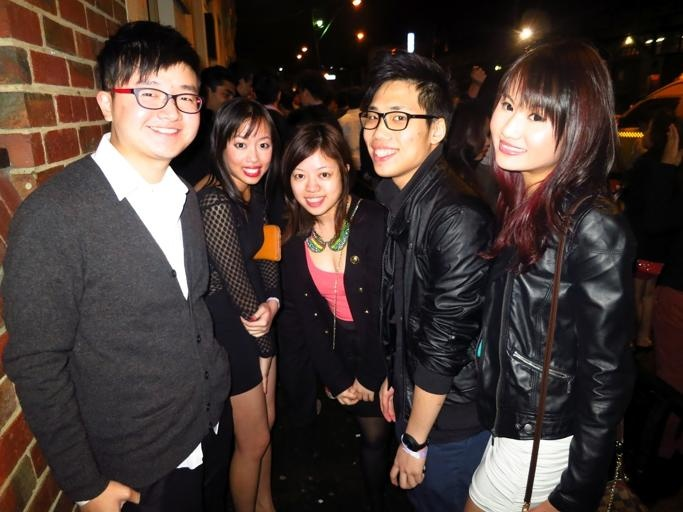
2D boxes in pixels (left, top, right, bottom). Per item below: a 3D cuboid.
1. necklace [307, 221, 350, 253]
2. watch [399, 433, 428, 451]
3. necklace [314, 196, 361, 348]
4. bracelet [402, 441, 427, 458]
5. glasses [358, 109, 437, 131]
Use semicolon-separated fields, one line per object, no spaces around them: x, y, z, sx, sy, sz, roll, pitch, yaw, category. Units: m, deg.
-0.100;-0.124;3.043;0.285;0.180;0.115;-14;3;17;necklace
0.341;0.894;2.297;0.102;0.041;0.076;25;-8;-26;watch
-0.029;0.124;3.039;0.255;0.838;0.140;-8;4;22;necklace
0.360;0.942;2.310;0.077;0.033;0.081;3;6;8;bracelet
0.273;-0.686;2.435;0.412;0.096;0.202;7;19;16;glasses
